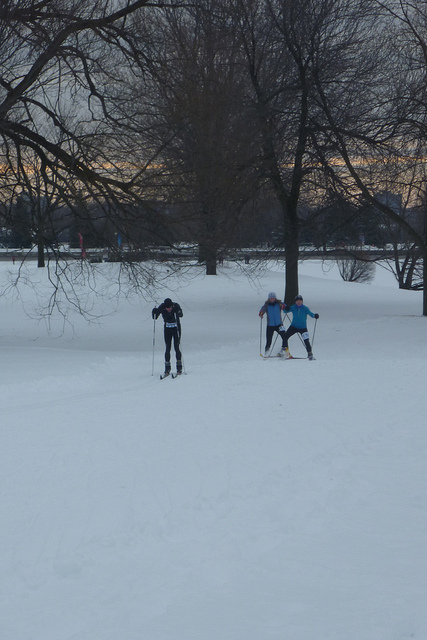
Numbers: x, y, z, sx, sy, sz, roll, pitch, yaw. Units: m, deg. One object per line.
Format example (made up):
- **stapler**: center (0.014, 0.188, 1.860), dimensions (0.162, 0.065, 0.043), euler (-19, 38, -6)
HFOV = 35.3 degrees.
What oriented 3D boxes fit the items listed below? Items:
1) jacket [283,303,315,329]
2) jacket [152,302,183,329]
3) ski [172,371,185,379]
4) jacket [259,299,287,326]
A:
- **jacket**: center (2.320, -0.069, 18.424), dimensions (0.764, 0.664, 0.249), euler (-1, -20, 6)
- **jacket**: center (-0.991, -0.096, 14.481), dimensions (0.590, 0.555, 0.387), euler (-1, 6, -2)
- **ski**: center (-0.735, 1.117, 13.584), dimensions (0.122, 0.030, 0.619), euler (2, 7, 16)
- **jacket**: center (1.400, -0.172, 15.762), dimensions (0.570, 0.606, 0.633), euler (0, 6, 1)
